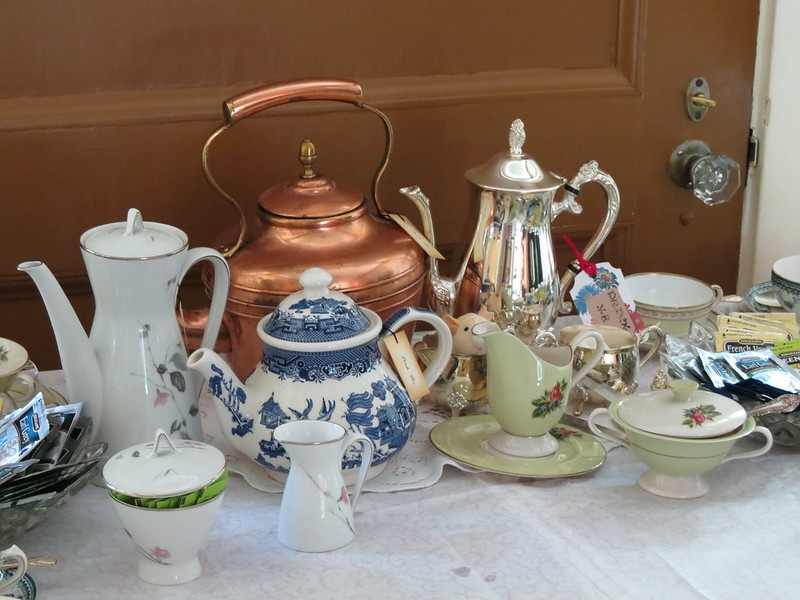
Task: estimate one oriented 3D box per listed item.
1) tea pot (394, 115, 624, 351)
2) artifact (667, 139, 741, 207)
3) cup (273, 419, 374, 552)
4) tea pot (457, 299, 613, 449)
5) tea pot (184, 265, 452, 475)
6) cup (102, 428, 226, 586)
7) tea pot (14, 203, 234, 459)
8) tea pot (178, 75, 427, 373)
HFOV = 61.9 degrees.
[{"bbox_3d":[0.167,-0.126,1.131,0.400,0.425,0.190,-4,18,-11],"label":"tea pot"},{"bbox_3d":[0.670,-0.293,1.488,0.107,0.117,0.123,14,12,-13],"label":"artifact"},{"bbox_3d":[-0.081,0.191,0.706,0.105,0.127,0.076,-3,23,-5],"label":"cup"},{"bbox_3d":[0.179,0.113,0.866,0.181,0.166,0.099,3,3,-10],"label":"tea pot"},{"bbox_3d":[-0.091,0.092,0.837,0.322,0.260,0.217,-8,12,-20],"label":"tea pot"},{"bbox_3d":[-0.235,0.209,0.666,0.115,0.136,0.118,4,6,0],"label":"cup"},{"bbox_3d":[-0.319,0.064,0.813,0.235,0.309,0.132,-11,22,-38],"label":"tea pot"},{"bbox_3d":[-0.155,-0.063,1.016,0.401,0.515,0.312,-10,22,-18],"label":"tea pot"}]
